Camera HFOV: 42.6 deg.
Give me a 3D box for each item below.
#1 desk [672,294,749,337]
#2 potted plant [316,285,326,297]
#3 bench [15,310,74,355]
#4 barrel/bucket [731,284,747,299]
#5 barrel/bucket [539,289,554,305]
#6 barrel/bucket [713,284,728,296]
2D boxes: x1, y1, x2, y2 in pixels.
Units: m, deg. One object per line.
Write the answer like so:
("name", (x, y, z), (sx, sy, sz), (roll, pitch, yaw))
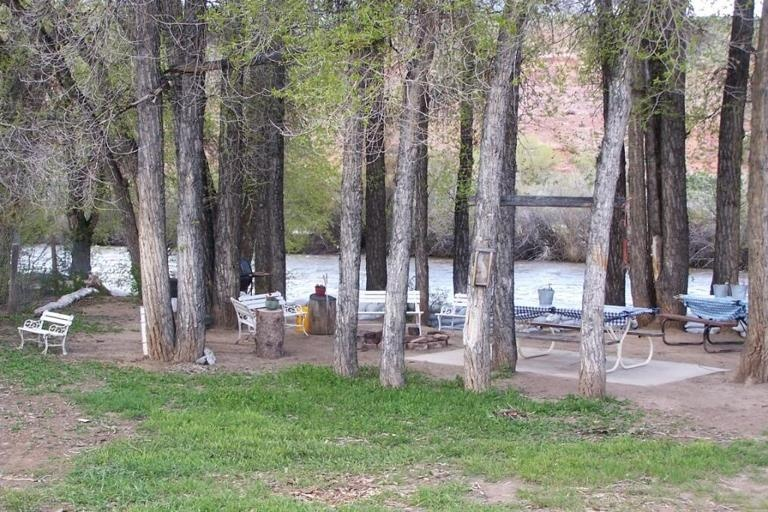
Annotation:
("desk", (7.686, 1.302, 22.899), (1.470, 0.807, 1.879), (0, -4, 1))
("potted plant", (-1.614, 0.865, 24.800), (0.205, 0.268, 0.362), (2, -1, 0))
("bench", (-7.541, 1.696, 21.817), (0.996, 0.948, 2.932), (1, -4, -20))
("barrel/bucket", (8.414, 0.841, 23.315), (0.335, 0.284, 0.370), (2, 4, 16))
("barrel/bucket", (3.623, 0.903, 21.840), (0.356, 0.291, 0.342), (0, 1, 0))
("barrel/bucket", (8.240, 0.832, 24.008), (0.338, 0.267, 0.317), (1, 1, 0))
